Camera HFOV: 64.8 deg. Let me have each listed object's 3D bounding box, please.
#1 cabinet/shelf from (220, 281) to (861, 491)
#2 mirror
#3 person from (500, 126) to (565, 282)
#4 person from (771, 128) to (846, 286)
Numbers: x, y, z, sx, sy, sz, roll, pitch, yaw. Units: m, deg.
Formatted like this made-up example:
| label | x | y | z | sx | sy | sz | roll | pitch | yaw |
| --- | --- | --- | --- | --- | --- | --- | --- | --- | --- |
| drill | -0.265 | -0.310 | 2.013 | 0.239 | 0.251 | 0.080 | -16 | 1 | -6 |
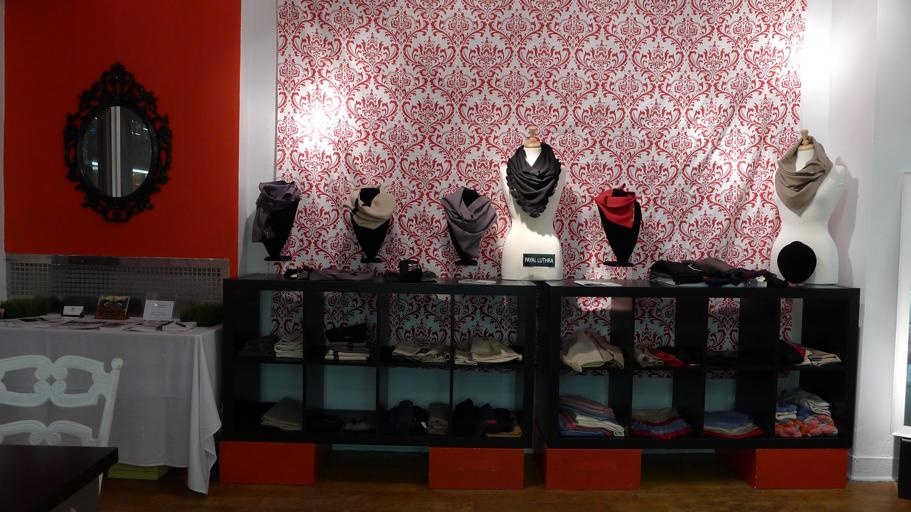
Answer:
| label | x | y | z | sx | sy | sz | roll | pitch | yaw |
| --- | --- | --- | --- | --- | --- | --- | --- | --- | --- |
| cabinet/shelf | 0.759 | 1.136 | 6.635 | 5.704 | 1.883 | 0.632 | 0 | -2 | 0 |
| mirror | -3.242 | -1.081 | 6.954 | 1.029 | 1.509 | 0.156 | 0 | -2 | 9 |
| person | 0.701 | -0.467 | 6.539 | 0.558 | 1.385 | 0.245 | 0 | -2 | 3 |
| person | 3.186 | -0.433 | 6.559 | 0.567 | 1.397 | 0.252 | 0 | -2 | -4 |
